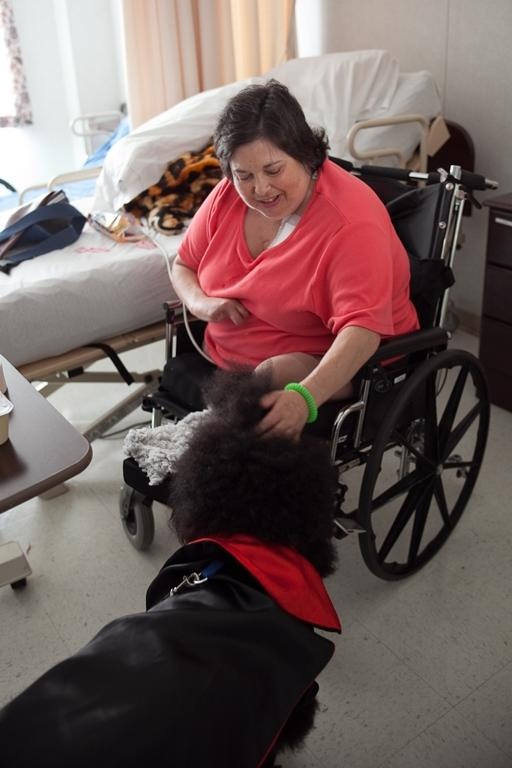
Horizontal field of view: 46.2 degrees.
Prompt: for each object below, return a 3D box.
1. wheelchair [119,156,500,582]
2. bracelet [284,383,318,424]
[{"bbox_3d":[0.123,-0.043,1.478,0.685,0.980,0.768,23,31,39],"label":"wheelchair"},{"bbox_3d":[0.087,0.034,1.078,0.023,0.067,0.059,-24,11,-14],"label":"bracelet"}]
